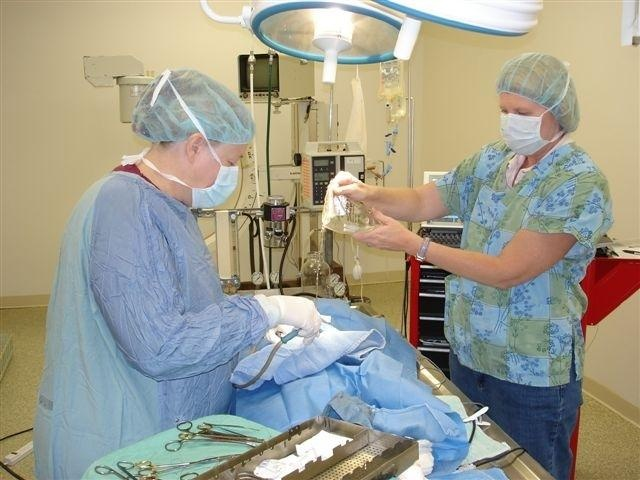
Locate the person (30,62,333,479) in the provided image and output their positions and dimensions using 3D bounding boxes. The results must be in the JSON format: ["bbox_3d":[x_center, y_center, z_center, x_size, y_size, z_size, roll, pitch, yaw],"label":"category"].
[{"bbox_3d":[-0.420,-0.057,2.489,1.091,1.641,1.060,-1,12,-17],"label":"person"}]

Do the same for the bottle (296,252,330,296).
[{"bbox_3d":[-0.024,0.178,3.146,0.185,0.346,0.194,0,0,0],"label":"bottle"}]

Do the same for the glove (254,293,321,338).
[{"bbox_3d":[-0.102,0.235,1.944,0.060,0.132,0.179,-24,-28,33],"label":"glove"}]

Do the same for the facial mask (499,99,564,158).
[{"bbox_3d":[0.744,-0.440,2.241,0.205,0.168,0.179,-26,26,-10],"label":"facial mask"}]
